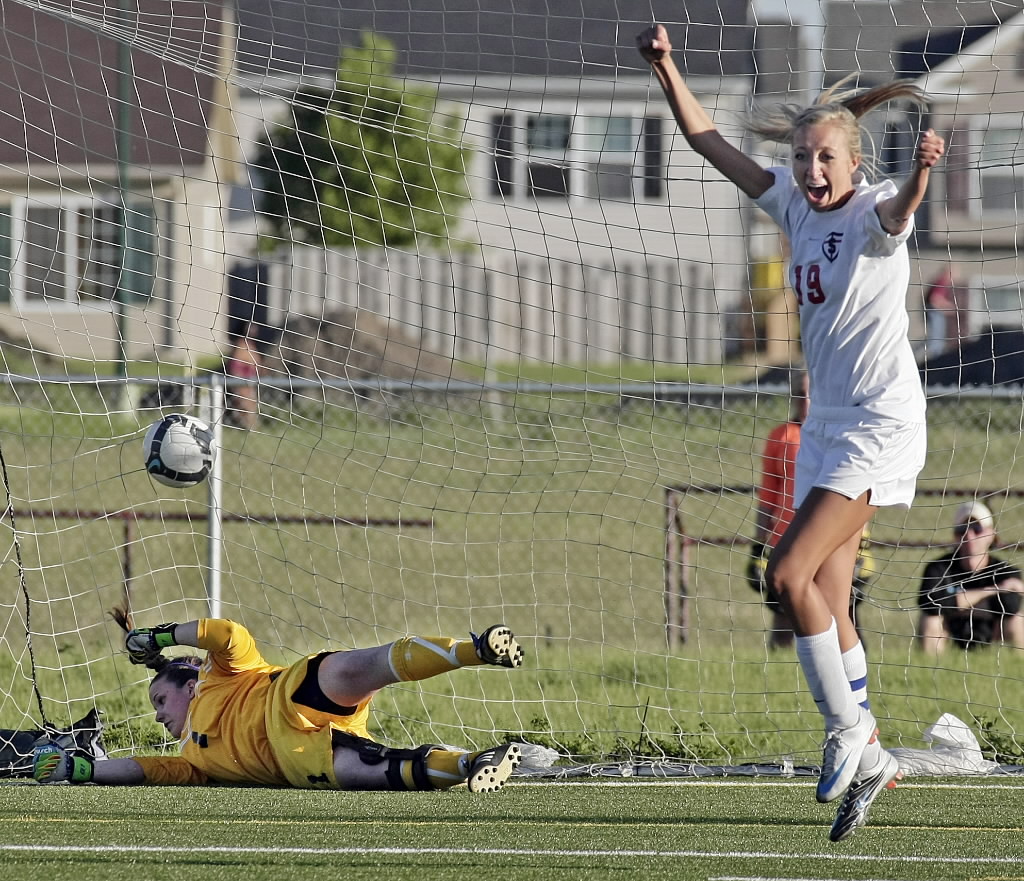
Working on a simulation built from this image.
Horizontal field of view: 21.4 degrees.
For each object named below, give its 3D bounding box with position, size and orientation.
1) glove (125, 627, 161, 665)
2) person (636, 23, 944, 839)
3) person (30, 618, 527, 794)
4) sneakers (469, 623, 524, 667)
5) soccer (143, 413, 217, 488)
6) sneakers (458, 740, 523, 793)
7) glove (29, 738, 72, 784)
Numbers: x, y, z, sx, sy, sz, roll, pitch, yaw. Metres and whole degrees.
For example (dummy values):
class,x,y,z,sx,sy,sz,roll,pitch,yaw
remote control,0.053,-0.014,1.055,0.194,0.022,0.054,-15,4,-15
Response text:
class,x,y,z,sx,sy,sz,roll,pitch,yaw
glove,-2.154,1.199,15.867,0.206,0.255,0.143,6,15,-2
person,1.708,0.142,14.904,1.341,4.021,0.693,0,0,12
person,-1.303,1.615,15.633,2.774,1.268,0.862,-5,-3,27
sneakers,-0.048,1.172,15.151,0.128,0.172,0.301,-30,-20,14
soccer,-2.054,0.002,16.790,0.426,0.466,0.427,16,24,30
sneakers,-0.100,1.826,15.107,0.181,0.382,0.185,48,1,-41
glove,-2.671,1.886,15.784,0.312,0.231,0.139,4,-10,-7
